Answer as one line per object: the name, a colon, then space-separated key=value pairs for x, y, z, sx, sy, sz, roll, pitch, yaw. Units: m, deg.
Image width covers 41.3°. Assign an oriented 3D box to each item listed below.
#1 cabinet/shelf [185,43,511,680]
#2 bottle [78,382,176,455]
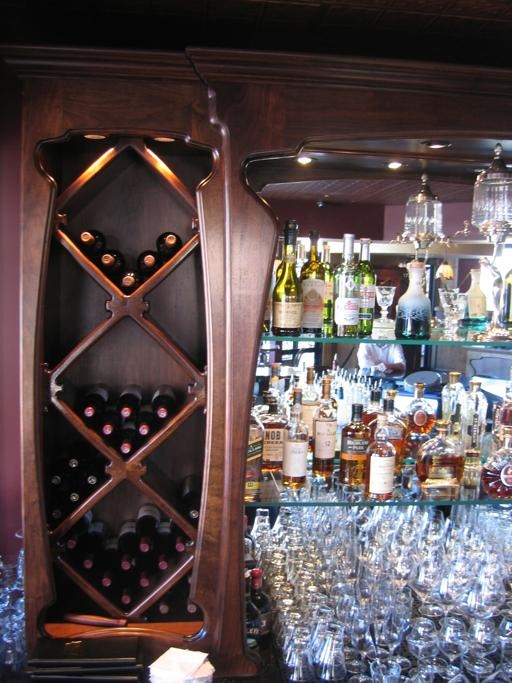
cabinet/shelf: x=0.222 y=0.121 z=1.977 sx=0.976 sy=1.648 sz=0.673 roll=4 pitch=-4 yaw=-6
bottle: x=-0.400 y=0.232 z=2.043 sx=0.116 sy=0.118 sz=0.204 roll=45 pitch=9 yaw=-16
